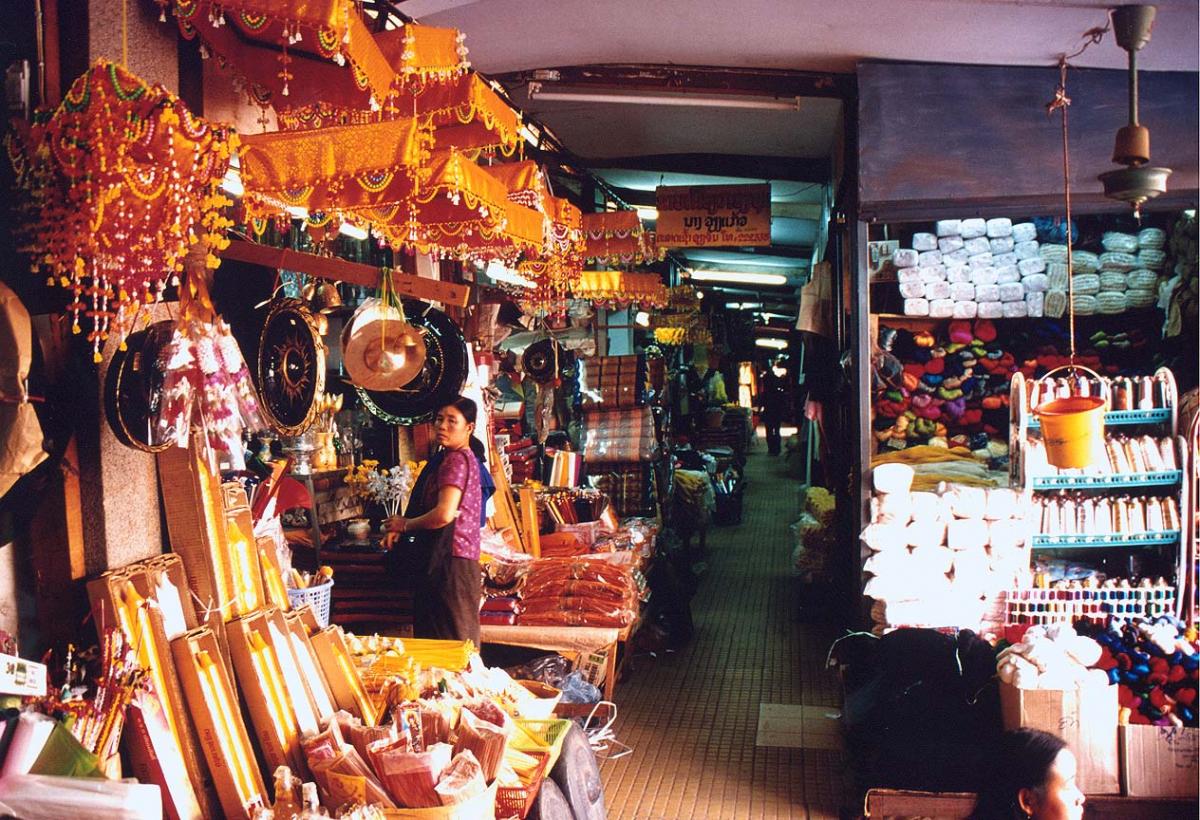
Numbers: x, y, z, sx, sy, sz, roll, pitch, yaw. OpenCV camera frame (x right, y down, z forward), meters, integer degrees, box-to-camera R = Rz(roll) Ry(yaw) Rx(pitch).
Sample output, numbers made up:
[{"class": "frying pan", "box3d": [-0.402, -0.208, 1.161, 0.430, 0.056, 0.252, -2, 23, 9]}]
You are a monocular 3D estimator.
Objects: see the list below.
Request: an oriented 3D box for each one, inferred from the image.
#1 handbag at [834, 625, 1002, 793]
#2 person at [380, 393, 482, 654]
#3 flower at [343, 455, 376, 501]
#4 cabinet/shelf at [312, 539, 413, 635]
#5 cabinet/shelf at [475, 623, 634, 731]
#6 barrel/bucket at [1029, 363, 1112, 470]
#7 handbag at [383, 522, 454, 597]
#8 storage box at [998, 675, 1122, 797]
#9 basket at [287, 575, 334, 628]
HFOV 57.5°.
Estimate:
[{"class": "handbag", "box3d": [1.695, 1.583, 5.696, 0.737, 0.839, 0.434, 2, -2, 23]}, {"class": "person", "box3d": [-0.951, 0.764, 6.348, 0.515, 1.664, 0.510, -5, 22, -24]}, {"class": "flower", "box3d": [-1.588, 0.459, 7.244, 0.195, 0.162, 0.175, 3, -2, -14]}, {"class": "cabinet/shelf", "box3d": [-1.409, 1.105, 6.734, 0.545, 0.383, 0.583, 7, 4, 10]}, {"class": "cabinet/shelf", "box3d": [-0.236, 1.696, 6.737, 0.808, 0.578, 0.460, 0, -7, 6]}, {"class": "barrel/bucket", "box3d": [2.409, 0.037, 5.623, 0.372, 0.511, 0.337, 0, 17, 32]}, {"class": "handbag", "box3d": [-1.014, 0.859, 6.279, 0.400, 0.418, 0.293, 7, -9, -9]}, {"class": "storage box", "box3d": [2.300, 1.655, 5.709, 0.306, 0.513, 0.583, 0, -13, 30]}, {"class": "basket", "box3d": [-1.408, 0.934, 5.391, 0.241, 0.194, 0.235, 3, -6, -45]}]
